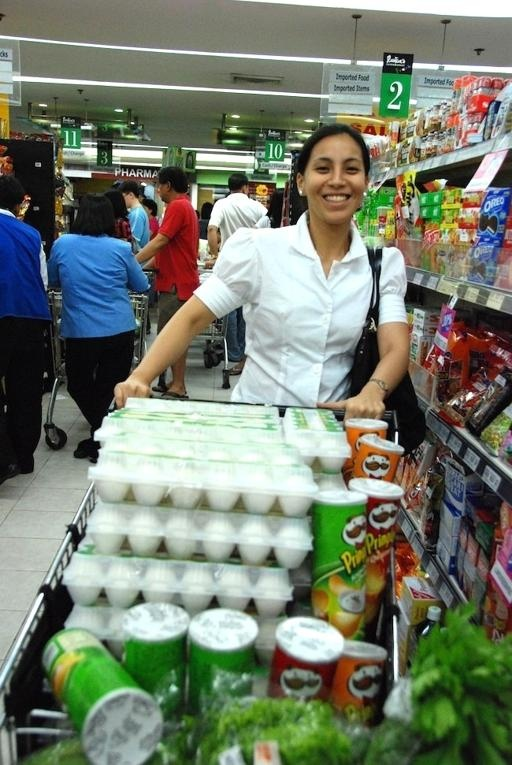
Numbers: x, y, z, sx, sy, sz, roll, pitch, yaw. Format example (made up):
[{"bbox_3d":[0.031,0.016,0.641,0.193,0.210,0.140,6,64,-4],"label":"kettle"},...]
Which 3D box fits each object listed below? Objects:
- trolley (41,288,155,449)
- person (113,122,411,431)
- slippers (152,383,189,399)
[{"bbox_3d":[-1.458,-0.165,4.734,1.183,1.669,1.010,-3,2,-14],"label":"trolley"},{"bbox_3d":[0.102,-0.303,1.459,0.833,0.832,0.528,-3,15,-6],"label":"person"},{"bbox_3d":[-0.686,0.072,4.088,0.116,0.073,0.291,0,14,-41],"label":"slippers"}]
